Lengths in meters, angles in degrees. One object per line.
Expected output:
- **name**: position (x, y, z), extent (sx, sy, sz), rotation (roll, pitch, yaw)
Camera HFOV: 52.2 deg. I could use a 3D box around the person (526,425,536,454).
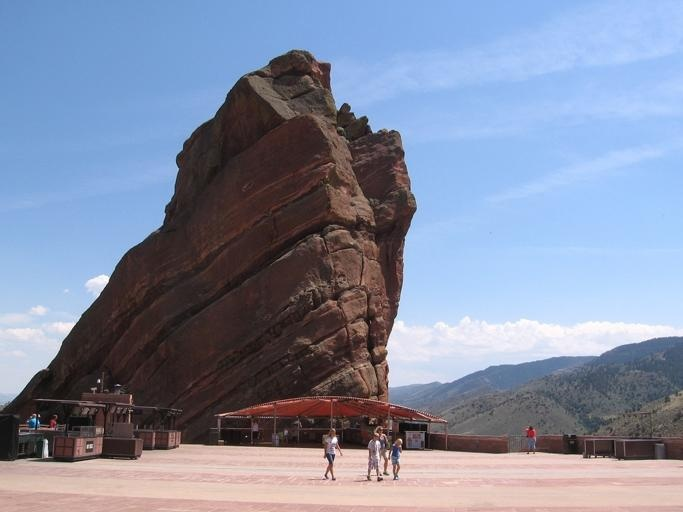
- **person**: position (11.893, 11.628, 43.967), extent (0.497, 1.665, 2.868), rotation (4, -11, 16)
